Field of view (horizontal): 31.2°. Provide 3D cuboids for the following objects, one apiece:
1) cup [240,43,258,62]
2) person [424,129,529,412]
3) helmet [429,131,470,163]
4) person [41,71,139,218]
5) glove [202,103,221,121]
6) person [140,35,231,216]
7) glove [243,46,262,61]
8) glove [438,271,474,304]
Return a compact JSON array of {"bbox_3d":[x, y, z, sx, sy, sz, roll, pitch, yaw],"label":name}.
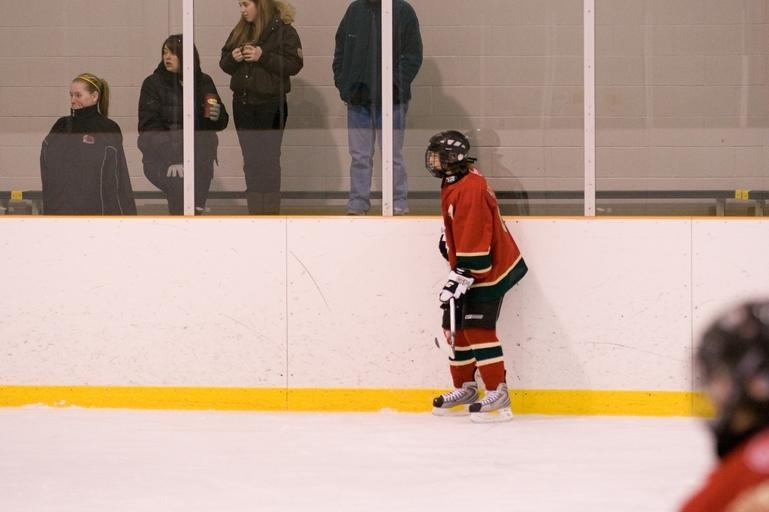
[{"bbox_3d":[-1.057,-1.582,10.681,0.123,0.111,0.121,3,10,-1],"label":"cup"},{"bbox_3d":[0.685,0.131,10.387,0.745,2.157,0.372,0,1,1],"label":"person"},{"bbox_3d":[0.502,-0.833,10.536,0.293,0.228,0.213,12,-1,11],"label":"helmet"},{"bbox_3d":[-2.326,-0.878,10.768,0.724,1.089,0.218,-1,1,-10],"label":"person"},{"bbox_3d":[-1.347,-1.125,10.749,0.130,0.127,0.097,7,-2,8],"label":"glove"},{"bbox_3d":[-1.580,-1.025,10.753,0.681,1.382,0.157,-1,1,-9],"label":"person"},{"bbox_3d":[-1.040,-1.581,10.791,0.125,0.104,0.129,2,22,-18],"label":"glove"},{"bbox_3d":[0.523,0.227,10.221,0.193,0.257,0.112,34,7,1],"label":"glove"}]
